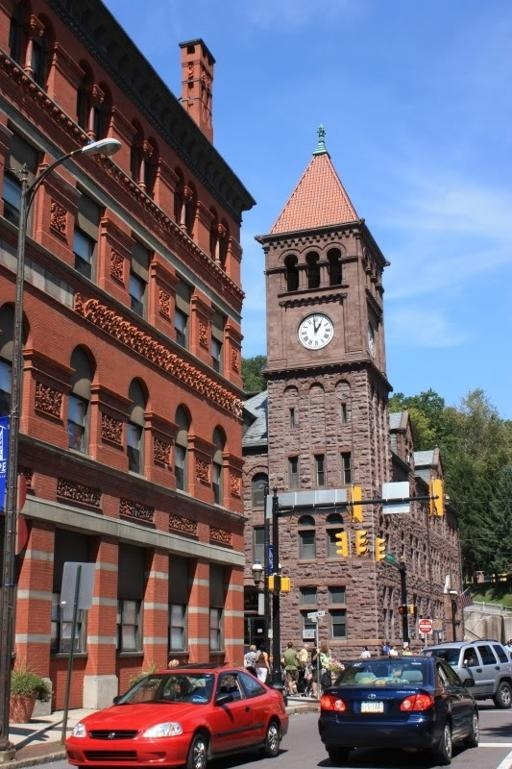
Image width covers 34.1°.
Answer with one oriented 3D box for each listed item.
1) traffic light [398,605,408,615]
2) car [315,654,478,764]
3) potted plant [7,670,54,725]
[{"bbox_3d":[6.953,10.528,39.290,0.295,0.394,0.772,-3,-20,5],"label":"traffic light"},{"bbox_3d":[1.952,3.969,10.394,1.005,0.769,2.229,-7,-15,24],"label":"car"},{"bbox_3d":[-4.142,5.760,15.385,0.927,0.992,0.856,18,-37,-29],"label":"potted plant"}]
